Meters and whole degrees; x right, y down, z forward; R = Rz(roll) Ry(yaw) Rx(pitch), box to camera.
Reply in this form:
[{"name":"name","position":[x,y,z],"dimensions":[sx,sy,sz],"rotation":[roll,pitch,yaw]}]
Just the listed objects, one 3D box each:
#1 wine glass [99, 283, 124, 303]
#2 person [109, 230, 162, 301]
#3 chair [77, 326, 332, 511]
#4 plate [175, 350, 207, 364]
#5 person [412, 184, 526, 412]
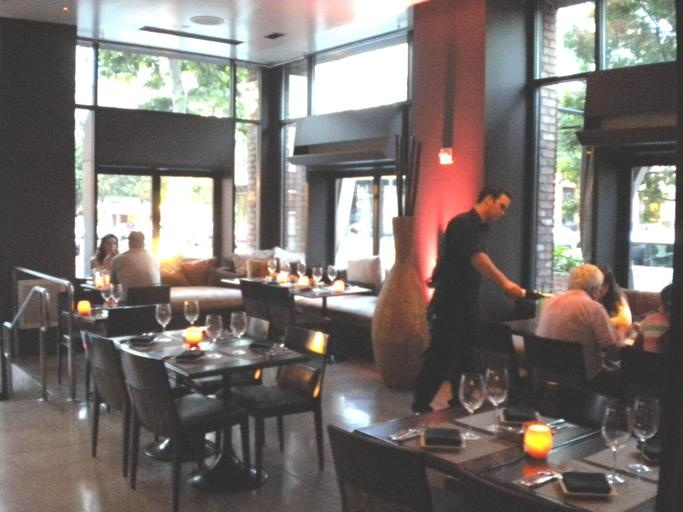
[{"name":"wine glass","position":[-2.269,0.348,6.515],"dimensions":[0.201,0.205,0.211],"rotation":[-3,6,-34]},{"name":"person","position":[-2.231,0.105,7.144],"dimensions":[0.503,0.753,0.342],"rotation":[0,3,-17]},{"name":"chair","position":[-1.030,0.813,4.780],"dimensions":[1.237,0.940,1.547],"rotation":[1,-1,-31]},{"name":"plate","position":[-1.044,0.687,4.546],"dimensions":[0.192,0.059,0.148],"rotation":[1,2,-9]},{"name":"person","position":[1.046,0.410,5.517],"dimensions":[0.380,1.947,0.938],"rotation":[-1,3,-39]}]
